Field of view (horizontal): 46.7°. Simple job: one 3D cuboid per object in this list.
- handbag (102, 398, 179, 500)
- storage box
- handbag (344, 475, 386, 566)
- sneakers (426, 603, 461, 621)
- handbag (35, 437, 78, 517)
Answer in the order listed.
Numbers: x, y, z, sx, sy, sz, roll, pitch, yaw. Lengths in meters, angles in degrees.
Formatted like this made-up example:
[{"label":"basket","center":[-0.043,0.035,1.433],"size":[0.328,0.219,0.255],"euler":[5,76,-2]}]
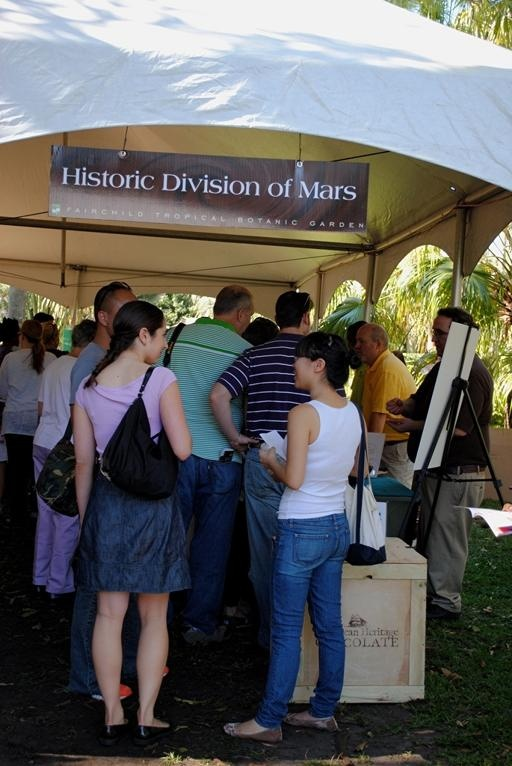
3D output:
[{"label":"handbag","center":[-0.358,0.197,1.865],"size":[0.135,0.275,0.205],"euler":[-7,-41,44]},{"label":"storage box","center":[0.454,1.044,2.804],"size":[0.605,0.545,0.600],"euler":[0,5,4]},{"label":"handbag","center":[0.430,0.564,2.358],"size":[0.151,0.345,0.140],"euler":[1,-4,11]},{"label":"sneakers","center":[1.140,1.427,3.670],"size":[0.149,0.054,0.105],"euler":[-9,-9,31]},{"label":"handbag","center":[-0.896,0.439,2.709],"size":[0.179,0.364,0.271],"euler":[3,-4,-21]}]
